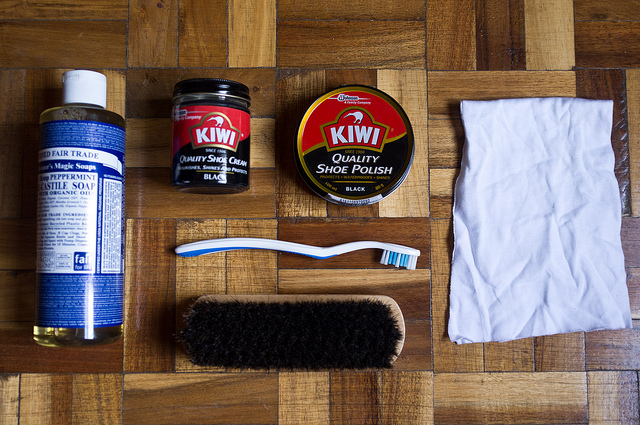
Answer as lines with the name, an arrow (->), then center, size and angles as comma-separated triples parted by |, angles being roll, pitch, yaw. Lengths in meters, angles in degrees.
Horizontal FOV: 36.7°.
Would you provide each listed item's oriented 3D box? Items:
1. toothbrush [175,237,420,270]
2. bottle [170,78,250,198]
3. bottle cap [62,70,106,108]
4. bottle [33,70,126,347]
toothbrush -> -0.046, 0.079, 2.056 | 0.514, 0.034, 0.051 | 3, 67, -1
bottle -> -0.229, -0.159, 2.060 | 0.172, 0.163, 0.221 | 1, 91, -9
bottle cap -> -0.484, -0.255, 2.024 | 0.098, 0.094, 0.065 | 2, 89, -25
bottle -> -0.463, -0.017, 1.984 | 0.194, 0.177, 0.543 | -1, 99, -8
